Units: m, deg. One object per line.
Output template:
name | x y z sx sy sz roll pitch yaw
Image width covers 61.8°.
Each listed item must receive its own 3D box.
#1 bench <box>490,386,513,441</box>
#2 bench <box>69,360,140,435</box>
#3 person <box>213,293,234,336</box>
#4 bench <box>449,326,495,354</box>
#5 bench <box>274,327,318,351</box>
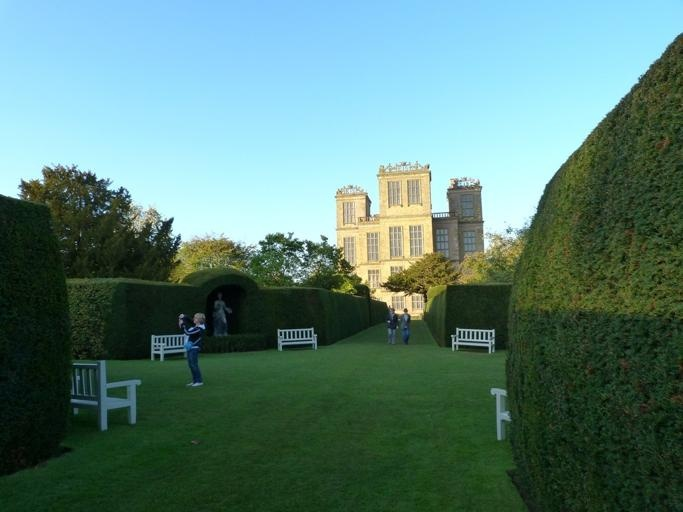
bench | 1.881 1.840 6.564 0.091 0.600 0.576 0 -4 -9
bench | -3.534 1.904 8.160 1.534 0.955 0.609 -5 -5 40
person | -4.025 1.934 19.229 0.519 1.419 1.027 1 -7 -14
bench | 4.063 2.572 17.599 1.321 0.722 2.153 -3 -8 13
bench | -1.569 2.830 19.796 1.268 0.712 1.560 0 -8 -8
